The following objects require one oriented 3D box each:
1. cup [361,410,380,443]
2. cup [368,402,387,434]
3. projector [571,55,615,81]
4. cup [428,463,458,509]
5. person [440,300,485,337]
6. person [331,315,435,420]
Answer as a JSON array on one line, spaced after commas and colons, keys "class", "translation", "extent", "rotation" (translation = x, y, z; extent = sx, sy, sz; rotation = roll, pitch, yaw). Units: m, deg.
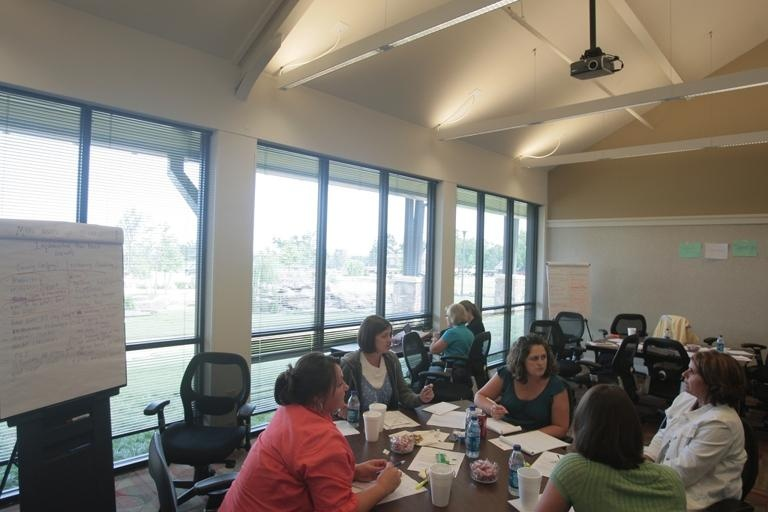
[{"class": "cup", "translation": [-0.087, 1.310, 3.912], "extent": [0.191, 0.202, 0.187], "rotation": [-1, -3, 0]}, {"class": "cup", "translation": [-0.042, 1.285, 4.044], "extent": [0.187, 0.203, 0.183], "rotation": [-1, -5, 0]}, {"class": "projector", "translation": [2.182, -1.951, 5.322], "extent": [0.255, 0.155, 0.429], "rotation": [-5, 2, -42]}, {"class": "cup", "translation": [0.392, 1.532, 3.462], "extent": [0.227, 0.247, 0.229], "rotation": [-1, -1, 0]}, {"class": "person", "translation": [1.103, 0.817, 6.735], "extent": [0.449, 0.783, 0.339], "rotation": [-1, -6, 26]}, {"class": "person", "translation": [0.005, 1.177, 4.455], "extent": [0.857, 1.191, 0.708], "rotation": [-1, 0, 3]}]
